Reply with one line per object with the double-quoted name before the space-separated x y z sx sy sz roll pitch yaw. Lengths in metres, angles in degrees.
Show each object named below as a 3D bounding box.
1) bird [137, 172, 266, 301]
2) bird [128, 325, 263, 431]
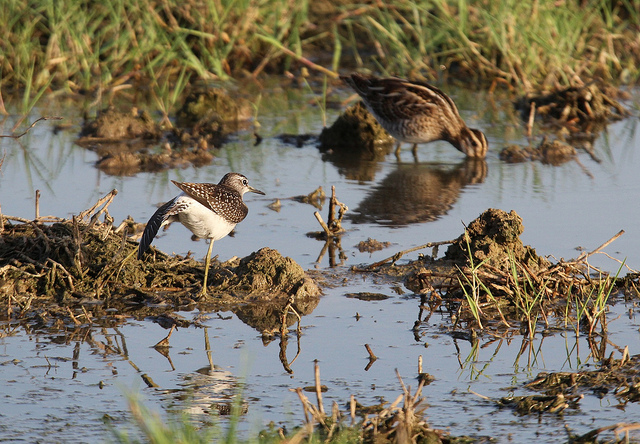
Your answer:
"bird" -1.249 0.117 7.504 0.681 1.216 1.752 1 4 30
"bird" -0.917 1.237 5.819 0.953 0.596 0.497 -5 9 -32
